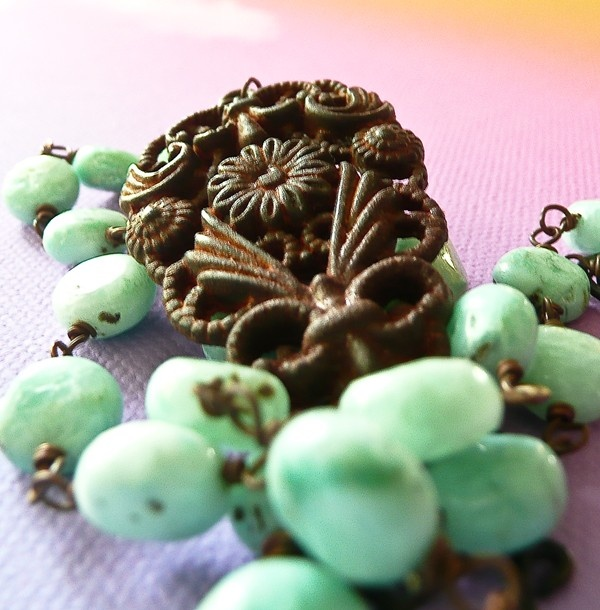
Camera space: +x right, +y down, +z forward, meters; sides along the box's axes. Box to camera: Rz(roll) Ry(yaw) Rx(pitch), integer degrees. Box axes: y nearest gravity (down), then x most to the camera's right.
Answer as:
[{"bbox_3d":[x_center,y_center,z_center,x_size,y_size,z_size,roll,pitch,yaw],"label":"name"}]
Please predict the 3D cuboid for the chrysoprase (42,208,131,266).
[{"bbox_3d":[-0.201,-0.069,0.788,0.074,0.046,0.054,7,20,34],"label":"chrysoprase"}]

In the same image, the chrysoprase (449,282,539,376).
[{"bbox_3d":[0.130,0.007,0.575,0.057,0.060,0.079,3,24,16],"label":"chrysoprase"}]

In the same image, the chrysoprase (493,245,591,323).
[{"bbox_3d":[0.201,-0.029,0.693,0.074,0.044,0.078,6,17,39],"label":"chrysoprase"}]

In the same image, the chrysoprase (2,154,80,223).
[{"bbox_3d":[-0.267,-0.112,0.881,0.062,0.052,0.068,-9,42,5],"label":"chrysoprase"}]

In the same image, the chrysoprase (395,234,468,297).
[{"bbox_3d":[0.099,-0.026,0.659,0.047,0.052,0.050,-9,-3,-2],"label":"chrysoprase"}]

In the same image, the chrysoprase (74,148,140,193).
[{"bbox_3d":[-0.199,-0.140,0.874,0.057,0.045,0.032,13,10,-8],"label":"chrysoprase"}]
